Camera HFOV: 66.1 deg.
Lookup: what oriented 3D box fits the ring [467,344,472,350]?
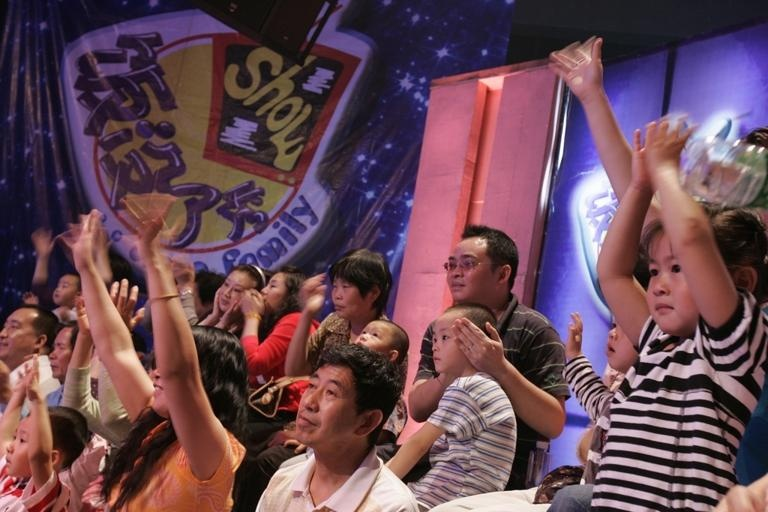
[{"bbox_3d":[0.411,0.444,2.864,0.024,0.024,0.006,11,0,29],"label":"ring"}]
